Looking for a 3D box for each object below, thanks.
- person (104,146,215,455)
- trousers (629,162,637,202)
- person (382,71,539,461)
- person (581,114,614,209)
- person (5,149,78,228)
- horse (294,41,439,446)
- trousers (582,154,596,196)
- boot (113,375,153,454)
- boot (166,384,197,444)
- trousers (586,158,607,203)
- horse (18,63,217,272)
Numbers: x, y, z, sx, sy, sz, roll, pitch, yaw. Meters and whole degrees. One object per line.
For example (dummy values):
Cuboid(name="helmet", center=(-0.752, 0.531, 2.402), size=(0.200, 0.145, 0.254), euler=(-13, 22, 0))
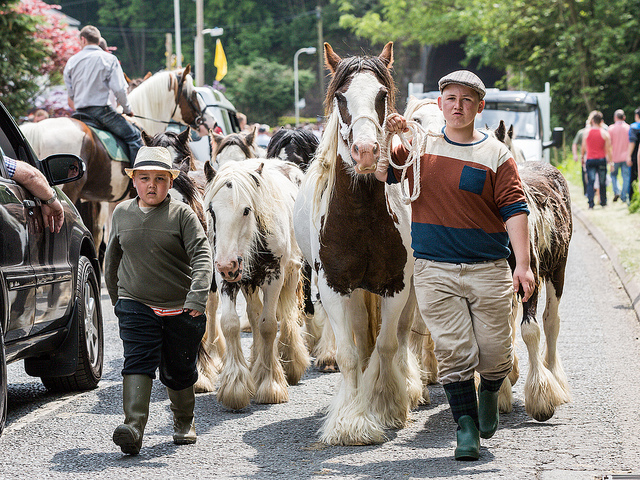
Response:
Cuboid(name="person", center=(-1.414, 0.511, 9.350), size=(0.941, 2.649, 0.773), euler=(-3, 6, -12))
Cuboid(name="trousers", center=(6.805, -1.317, 23.025), size=(0.160, 0.796, 1.650), euler=(0, 6, 17))
Cuboid(name="person", center=(1.211, 0.203, 9.051), size=(1.185, 3.258, 0.671), euler=(-1, 6, 11))
Cuboid(name="person", center=(6.205, -1.745, 23.608), size=(0.667, 2.105, 1.212), euler=(0, 6, 14))
Cuboid(name="person", center=(-2.639, -0.477, 9.981), size=(0.198, 0.796, 0.444), euler=(-18, 0, 5))
Cuboid(name="horse", center=(0.394, -0.032, 9.934), size=(1.269, 3.574, 2.036), euler=(-2, 6, -1))
Cuboid(name="trousers", center=(6.096, -1.513, 23.959), size=(0.206, 0.935, 0.653), euler=(4, -5, 13))
Cuboid(name="boot", center=(-1.607, 1.516, 9.115), size=(0.216, 0.707, 0.323), euler=(1, 7, 26))
Cuboid(name="boot", center=(-1.236, 1.546, 9.506), size=(0.238, 0.530, 0.218), euler=(-3, 6, -11))
Cuboid(name="trousers", center=(6.173, -1.324, 23.683), size=(0.416, 1.035, 0.804), euler=(0, 6, 14))
Cuboid(name="horse", center=(-2.728, -1.021, 15.600), size=(3.741, 2.437, 0.978), euler=(-7, 2, 36))
